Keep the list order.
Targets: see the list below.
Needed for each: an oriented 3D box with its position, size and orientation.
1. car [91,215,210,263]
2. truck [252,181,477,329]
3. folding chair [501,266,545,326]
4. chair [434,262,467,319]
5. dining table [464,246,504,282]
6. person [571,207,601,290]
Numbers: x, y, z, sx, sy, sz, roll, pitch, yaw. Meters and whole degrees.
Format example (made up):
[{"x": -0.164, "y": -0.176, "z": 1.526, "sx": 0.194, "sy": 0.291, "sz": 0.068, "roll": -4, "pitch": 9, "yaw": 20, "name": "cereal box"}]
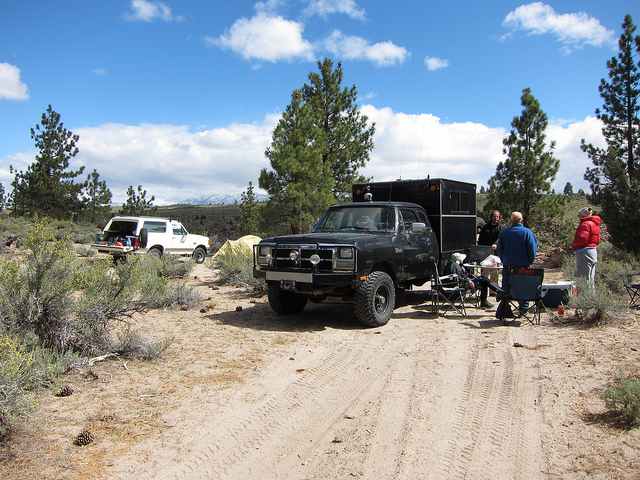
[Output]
[{"x": -6.667, "y": 0.180, "z": 17.942, "sx": 1.931, "sy": 2.335, "sz": 4.001, "roll": 3, "pitch": 11, "yaw": 27, "name": "car"}, {"x": 1.593, "y": 0.143, "z": 11.124, "sx": 2.696, "sy": 3.373, "sz": 5.520, "roll": 0, "pitch": 2, "yaw": 44, "name": "truck"}, {"x": 3.972, "y": 1.136, "z": 8.898, "sx": 0.699, "sy": 1.177, "sz": 0.626, "roll": 3, "pitch": 10, "yaw": 24, "name": "folding chair"}, {"x": 2.886, "y": 1.146, "z": 10.137, "sx": 0.716, "sy": 1.239, "sz": 0.699, "roll": -3, "pitch": -6, "yaw": 12, "name": "chair"}, {"x": 4.066, "y": 0.564, "z": 11.135, "sx": 0.988, "sy": 1.192, "sz": 1.068, "roll": 0, "pitch": -1, "yaw": 0, "name": "dining table"}, {"x": 5.803, "y": 0.151, "z": 9.844, "sx": 0.488, "sy": 1.626, "sz": 1.556, "roll": 4, "pitch": 11, "yaw": 31, "name": "person"}]
